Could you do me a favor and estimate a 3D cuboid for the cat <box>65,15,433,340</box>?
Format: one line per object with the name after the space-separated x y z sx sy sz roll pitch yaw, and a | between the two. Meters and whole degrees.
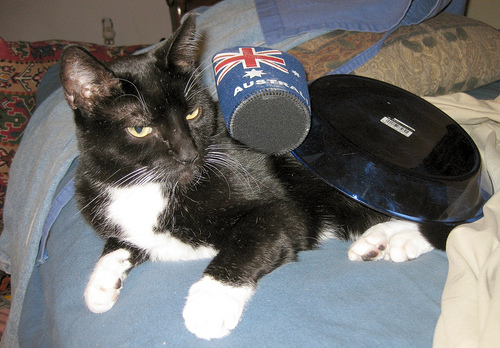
-0.010 -0.106 2.136 1.395 1.032 0.952 -17 93 -47 | cat

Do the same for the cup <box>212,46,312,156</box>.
0.017 -0.263 1.891 0.393 0.303 0.381 13 37 -10 | cup
